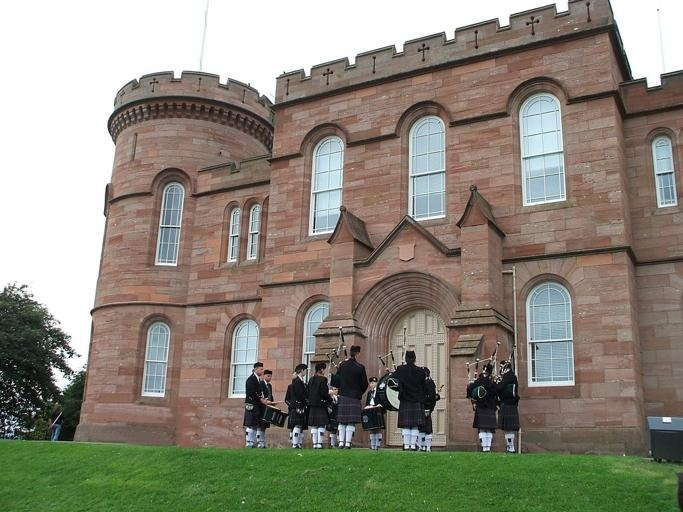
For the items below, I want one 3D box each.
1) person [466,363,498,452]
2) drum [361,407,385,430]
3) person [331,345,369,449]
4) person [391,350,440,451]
[{"bbox_3d":[3.487,3.655,14.153,0.746,2.112,0.512,-6,-2,-36],"label":"person"},{"bbox_3d":[0.787,4.159,14.981,0.827,0.543,0.590,0,-21,0],"label":"drum"},{"bbox_3d":[0.220,3.512,14.663,0.889,2.372,0.625,-7,-2,-2],"label":"person"},{"bbox_3d":[1.714,3.452,13.808,0.889,2.285,0.842,-6,-2,-17],"label":"person"}]
